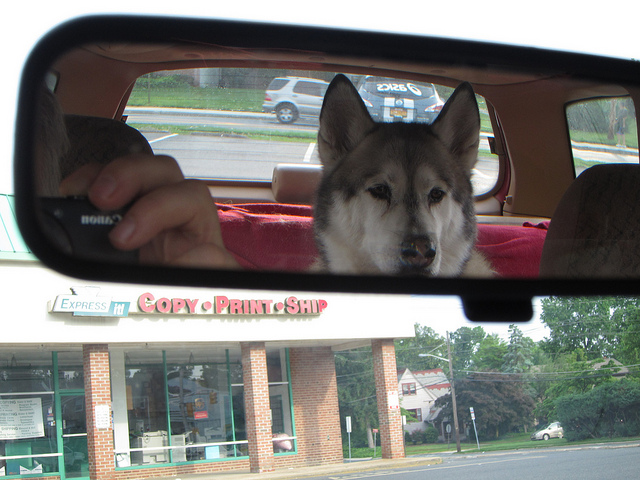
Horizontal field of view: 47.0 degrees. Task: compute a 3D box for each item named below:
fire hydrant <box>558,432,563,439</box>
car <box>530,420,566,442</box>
[{"bbox_3d":[17.370,14.297,53.526,0.302,0.691,0.333,2,-9,-7],"label":"fire hydrant"},{"bbox_3d":[16.870,14.368,54.656,2.511,1.444,1.502,-2,-10,3],"label":"car"}]
